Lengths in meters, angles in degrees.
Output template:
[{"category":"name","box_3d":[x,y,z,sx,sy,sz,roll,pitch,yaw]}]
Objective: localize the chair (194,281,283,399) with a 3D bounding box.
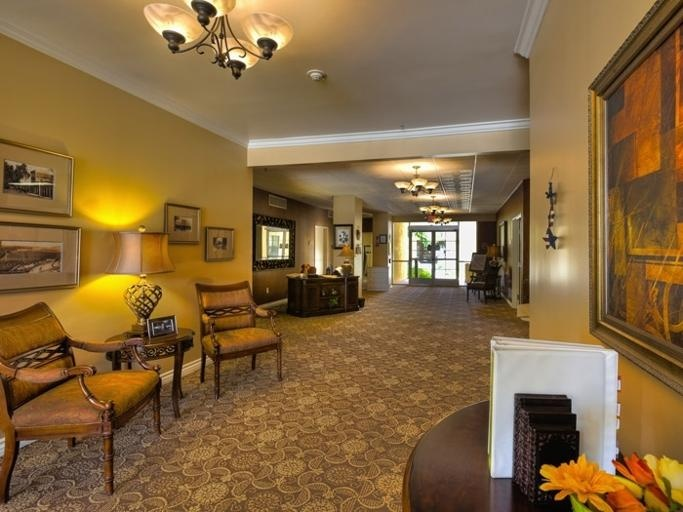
[{"category":"chair","box_3d":[-0.958,0.869,5.266,1.069,1.481,1.069,-1,0,-37]}]

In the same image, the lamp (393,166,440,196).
[{"category":"lamp","box_3d":[1.222,-1.276,7.821,0.577,0.354,0.563,4,11,19]}]

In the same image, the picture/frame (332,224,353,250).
[{"category":"picture/frame","box_3d":[0.031,-0.432,10.014,0.584,0.673,0.052,2,2,29]}]

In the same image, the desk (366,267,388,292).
[{"category":"desk","box_3d":[1.208,0.721,14.120,0.824,0.828,0.635,-1,-2,23]}]

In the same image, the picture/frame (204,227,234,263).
[{"category":"picture/frame","box_3d":[-1.535,-0.149,5.721,0.047,0.452,0.595,2,8,21]}]

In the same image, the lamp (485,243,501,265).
[{"category":"lamp","box_3d":[3.792,0.006,11.352,0.346,0.466,0.729,1,7,16]}]

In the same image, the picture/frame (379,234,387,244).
[{"category":"picture/frame","box_3d":[1.254,-0.528,13.976,0.292,0.335,0.035,3,14,9]}]

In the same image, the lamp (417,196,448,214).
[{"category":"lamp","box_3d":[2.387,-1.301,11.751,0.485,0.301,0.510,-4,9,-19]}]

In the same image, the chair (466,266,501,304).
[{"category":"chair","box_3d":[3.596,0.680,11.477,0.683,1.029,1.831,2,8,20]}]
